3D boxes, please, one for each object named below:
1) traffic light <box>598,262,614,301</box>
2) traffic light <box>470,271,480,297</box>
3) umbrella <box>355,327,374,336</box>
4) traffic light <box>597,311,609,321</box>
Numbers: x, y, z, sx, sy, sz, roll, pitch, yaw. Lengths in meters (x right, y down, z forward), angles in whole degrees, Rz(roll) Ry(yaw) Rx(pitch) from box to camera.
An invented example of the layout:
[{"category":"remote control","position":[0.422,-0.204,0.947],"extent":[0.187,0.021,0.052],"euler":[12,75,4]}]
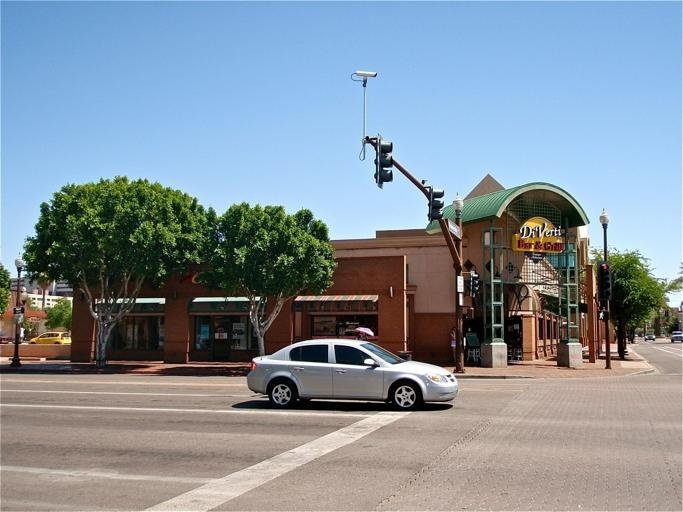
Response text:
[{"category":"traffic light","position":[12.377,1.157,31.103],"extent":[0.504,1.705,1.257],"euler":[-3,-9,20]},{"category":"traffic light","position":[5.802,1.143,29.009],"extent":[0.362,1.011,0.645],"euler":[-1,-8,8]},{"category":"umbrella","position":[1.118,3.779,32.879],"extent":[0.935,0.478,1.323],"euler":[-1,-10,3]},{"category":"traffic light","position":[12.769,2.862,32.168],"extent":[0.354,0.434,0.569],"euler":[-3,-9,16]}]
